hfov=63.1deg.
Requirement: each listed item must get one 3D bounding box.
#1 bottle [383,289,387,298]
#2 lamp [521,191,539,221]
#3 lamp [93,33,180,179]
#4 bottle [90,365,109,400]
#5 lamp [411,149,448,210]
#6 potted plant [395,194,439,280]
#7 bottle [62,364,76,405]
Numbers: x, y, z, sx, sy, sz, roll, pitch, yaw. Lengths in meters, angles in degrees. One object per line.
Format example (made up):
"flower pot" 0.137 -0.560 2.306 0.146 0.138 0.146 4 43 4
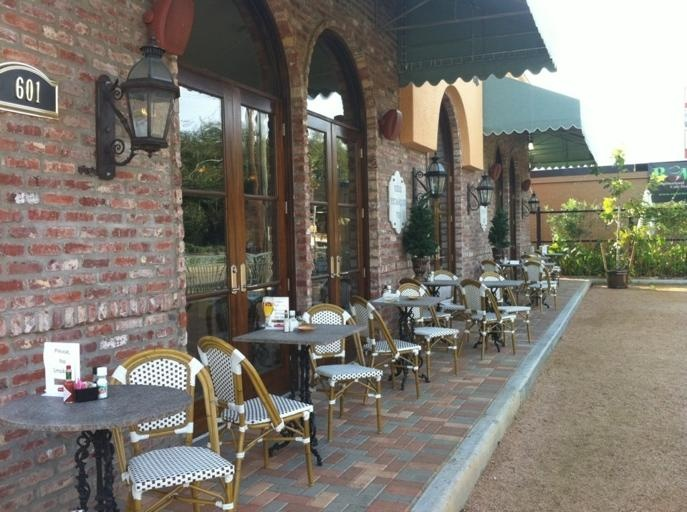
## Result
"bottle" 0.491 0.452 6.925 0.077 0.088 0.152 11 -12 8
"lamp" 6.001 -1.700 18.262 0.479 0.765 1.567 -3 1 18
"lamp" -1.451 -0.997 3.967 0.566 0.968 0.451 -3 -3 -3
"bottle" -1.410 0.729 3.255 0.068 0.199 0.103 -3 1 -28
"lamp" 1.361 -1.165 8.983 0.544 0.916 0.383 -8 11 -6
"potted plant" 1.162 -0.271 8.901 0.520 1.222 0.495 0 0 31
"bottle" -1.568 0.725 3.203 0.054 0.235 0.092 -3 1 -28
